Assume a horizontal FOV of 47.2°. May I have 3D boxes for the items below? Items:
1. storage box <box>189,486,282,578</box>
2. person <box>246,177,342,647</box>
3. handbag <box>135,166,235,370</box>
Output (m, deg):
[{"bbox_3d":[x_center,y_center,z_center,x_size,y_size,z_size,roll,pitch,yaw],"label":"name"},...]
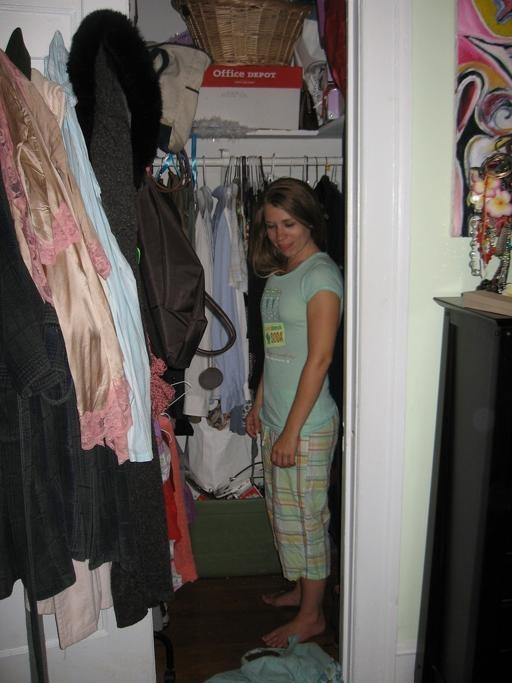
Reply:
[{"bbox_3d":[-0.092,0.763,2.268,0.435,0.353,0.272,-2,10,-2],"label":"storage box"},{"bbox_3d":[0.129,0.242,1.940,0.312,1.525,0.469,-4,7,-1],"label":"person"},{"bbox_3d":[-0.226,-0.178,1.613,0.167,0.533,0.630,-5,7,-4],"label":"handbag"}]
